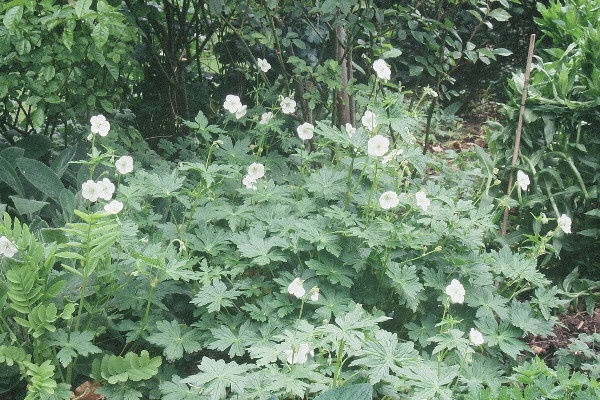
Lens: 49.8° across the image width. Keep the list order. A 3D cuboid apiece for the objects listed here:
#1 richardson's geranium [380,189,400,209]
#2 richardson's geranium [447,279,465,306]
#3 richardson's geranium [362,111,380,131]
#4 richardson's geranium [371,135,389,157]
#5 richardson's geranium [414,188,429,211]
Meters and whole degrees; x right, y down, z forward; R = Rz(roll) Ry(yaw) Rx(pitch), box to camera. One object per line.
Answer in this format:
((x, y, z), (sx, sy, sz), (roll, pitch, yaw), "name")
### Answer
((0.585, -0.001, 4.269), (0.115, 0.119, 0.093), (4, 10, -19), "richardson's geranium")
((0.963, 0.564, 4.011), (0.103, 0.165, 0.141), (9, 10, 11), "richardson's geranium")
((0.485, -0.547, 4.483), (0.113, 0.137, 0.347), (8, 10, 5), "richardson's geranium")
((0.540, -0.360, 4.292), (0.113, 0.137, 0.211), (14, 11, 34), "richardson's geranium")
((0.830, 0.008, 4.320), (0.035, 0.115, 0.118), (-2, 36, 47), "richardson's geranium")
